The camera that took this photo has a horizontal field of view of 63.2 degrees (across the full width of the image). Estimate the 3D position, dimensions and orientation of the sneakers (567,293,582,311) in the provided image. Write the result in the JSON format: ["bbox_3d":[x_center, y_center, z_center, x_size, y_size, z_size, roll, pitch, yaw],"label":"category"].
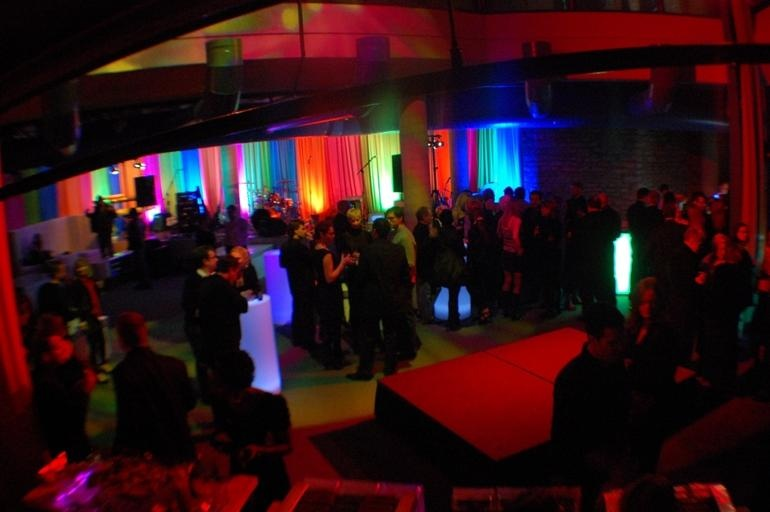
[{"bbox_3d":[2.595,0.627,8.591,0.243,0.217,0.417,-2,4,18],"label":"sneakers"}]

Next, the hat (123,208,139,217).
[{"bbox_3d":[-4.143,-0.706,10.334,0.240,0.097,0.312,-2,-1,-2],"label":"hat"}]
